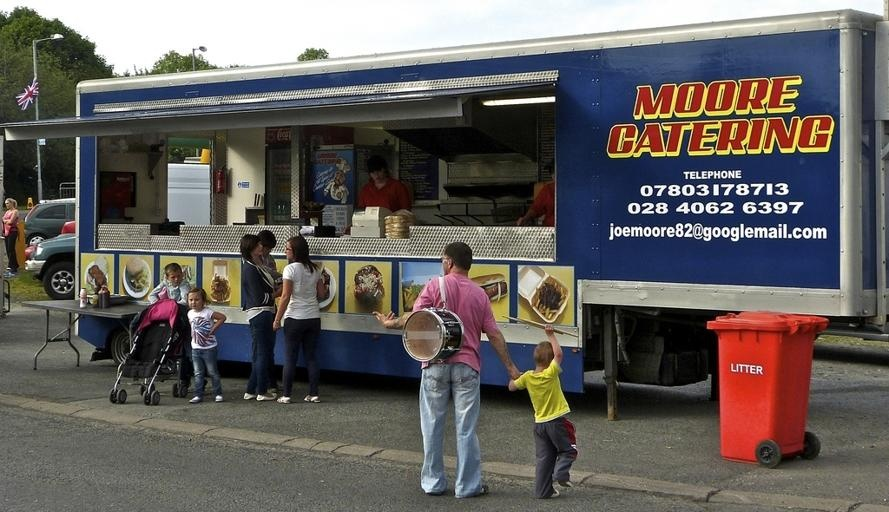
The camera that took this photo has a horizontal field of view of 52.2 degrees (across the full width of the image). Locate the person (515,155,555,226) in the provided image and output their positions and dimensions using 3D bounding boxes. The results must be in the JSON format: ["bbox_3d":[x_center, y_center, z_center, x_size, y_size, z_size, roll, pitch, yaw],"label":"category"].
[{"bbox_3d":[1.458,-0.778,12.966,0.585,1.259,0.535,0,0,-17],"label":"person"}]

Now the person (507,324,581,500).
[{"bbox_3d":[1.034,1.629,9.650,0.708,1.817,0.709,1,-1,-2],"label":"person"}]

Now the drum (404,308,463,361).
[{"bbox_3d":[-0.105,0.850,9.473,0.613,0.558,0.271,1,9,2],"label":"drum"}]

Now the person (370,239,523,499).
[{"bbox_3d":[0.123,1.171,9.909,1.092,2.693,1.477,0,0,-31],"label":"person"}]

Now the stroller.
[{"bbox_3d":[-3.935,1.283,12.393,0.567,2.117,0.632,0,0,26],"label":"stroller"}]

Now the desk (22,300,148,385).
[{"bbox_3d":[-5.517,1.626,14.248,2.445,1.159,1.242,3,3,32],"label":"desk"}]

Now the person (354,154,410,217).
[{"bbox_3d":[-0.859,-1.045,14.566,0.578,1.152,0.756,1,1,40],"label":"person"}]

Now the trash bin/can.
[{"bbox_3d":[3.679,1.531,10.637,1.147,1.801,0.919,0,0,-2],"label":"trash bin/can"}]
